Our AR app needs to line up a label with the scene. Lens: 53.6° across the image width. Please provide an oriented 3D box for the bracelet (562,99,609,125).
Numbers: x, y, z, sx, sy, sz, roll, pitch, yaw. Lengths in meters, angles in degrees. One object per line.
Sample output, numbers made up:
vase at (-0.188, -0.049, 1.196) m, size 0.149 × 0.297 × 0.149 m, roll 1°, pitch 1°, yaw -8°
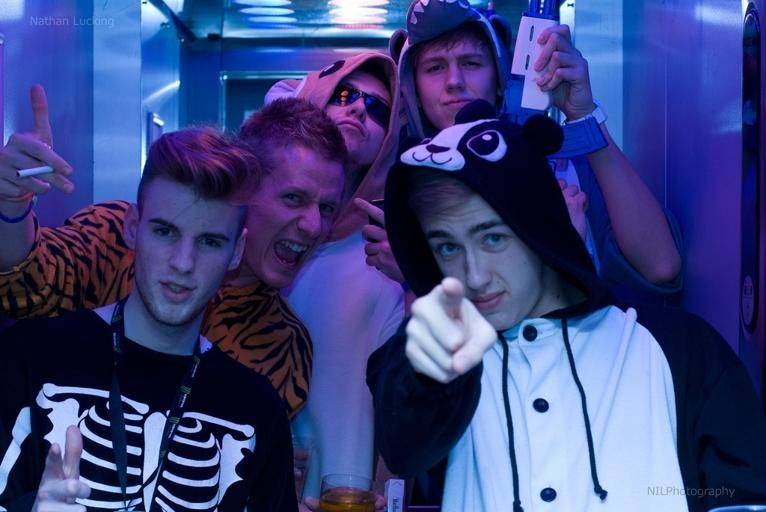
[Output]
bracelet at (0.758, -0.531, 2.814) m, size 0.125 × 0.079 × 0.094 m, roll -13°, pitch 12°, yaw -3°
